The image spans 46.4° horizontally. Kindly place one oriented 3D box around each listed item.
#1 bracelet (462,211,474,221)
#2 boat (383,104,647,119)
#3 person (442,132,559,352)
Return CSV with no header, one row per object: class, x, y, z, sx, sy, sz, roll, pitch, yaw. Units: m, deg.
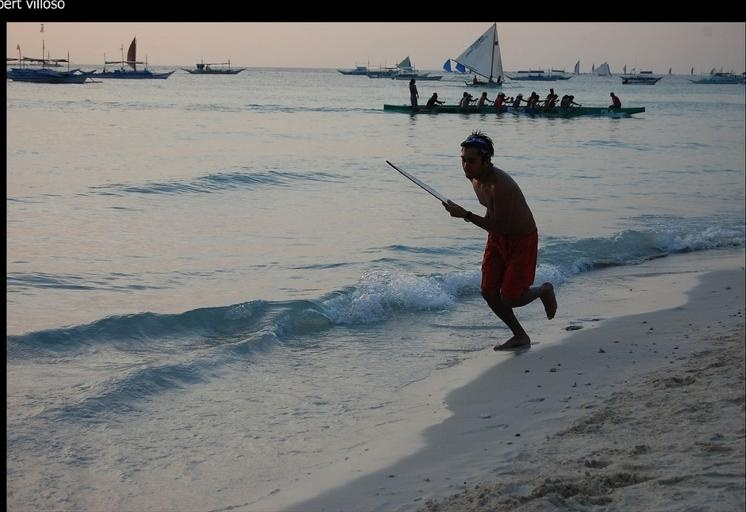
bracelet,0.858,-0.357,7.759,0.087,0.074,0.103,0,7,-1
boat,5.566,-5.829,35.027,10.879,0.487,1.357,1,12,1
person,1.175,-0.109,8.113,0.657,2.104,1.046,8,15,35
